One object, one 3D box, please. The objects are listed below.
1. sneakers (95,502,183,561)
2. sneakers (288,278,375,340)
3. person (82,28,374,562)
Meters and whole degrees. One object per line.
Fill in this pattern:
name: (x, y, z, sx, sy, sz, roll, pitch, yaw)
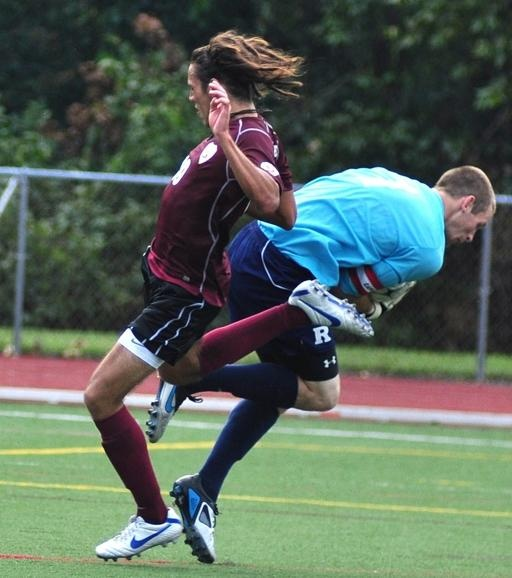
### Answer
sneakers: (-0.422, 0.925, 3.527, 0.449, 0.142, 0.124, -13, 1, -19)
sneakers: (0.382, 0.077, 3.742, 0.463, 0.173, 0.132, 18, 38, -26)
person: (-0.227, 0.012, 3.488, 0.671, 2.028, 0.528, 4, 3, 9)
